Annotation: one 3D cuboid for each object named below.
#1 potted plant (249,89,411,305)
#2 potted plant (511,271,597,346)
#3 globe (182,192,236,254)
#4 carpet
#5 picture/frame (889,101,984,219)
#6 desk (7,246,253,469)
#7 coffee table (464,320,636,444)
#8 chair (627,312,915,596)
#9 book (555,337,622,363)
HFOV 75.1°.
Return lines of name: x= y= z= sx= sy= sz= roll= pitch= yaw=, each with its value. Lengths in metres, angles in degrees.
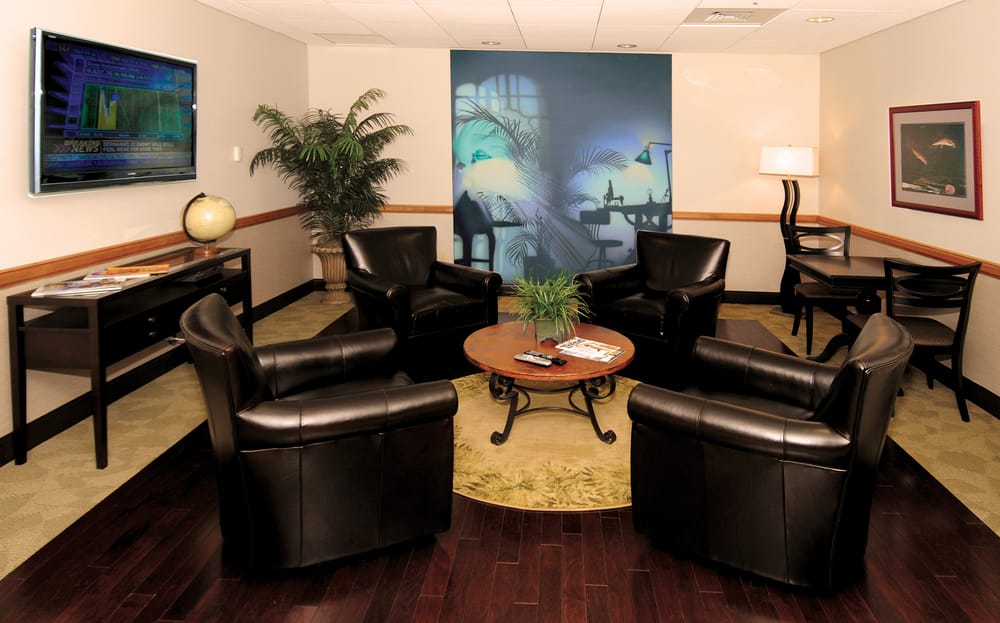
potted plant: x=-2.146 y=-1.507 z=8.787 sx=2.491 sy=2.895 sz=2.404 roll=-1 pitch=8 yaw=-6
potted plant: x=0.419 y=-0.032 z=5.533 sx=0.647 sy=0.568 sz=0.646 roll=0 pitch=1 yaw=4
globe: x=-2.802 y=-0.865 z=6.247 sx=0.475 sy=0.556 sz=0.482 roll=-1 pitch=7 yaw=-31
carpet: x=0.290 y=1.041 z=5.014 sx=1.418 sy=0.206 sz=1.420 roll=0 pitch=18 yaw=8
picture/frame: x=4.155 y=-1.463 z=6.288 sx=1.071 sy=1.017 sz=0.051 roll=-1 pitch=-1 yaw=-15
desk: x=-2.845 y=0.370 z=4.875 sx=0.463 sy=0.860 sz=1.579 roll=3 pitch=14 yaw=4
coffee table: x=0.326 y=0.451 z=5.282 sx=1.074 sy=0.526 sz=1.068 roll=0 pitch=11 yaw=0
chair: x=1.701 y=0.819 z=4.563 sx=1.805 sy=1.743 sz=1.593 roll=6 pitch=14 yaw=29
book: x=0.709 y=0.297 z=5.189 sx=0.504 sy=0.042 sz=0.396 roll=9 pitch=21 yaw=32
